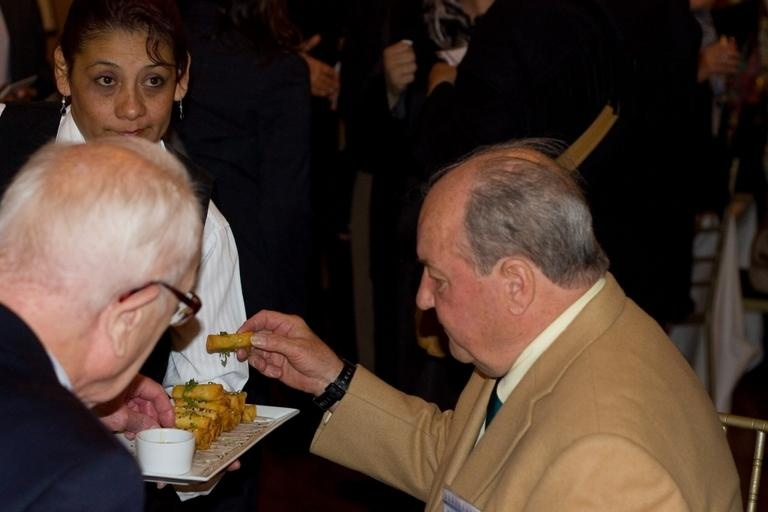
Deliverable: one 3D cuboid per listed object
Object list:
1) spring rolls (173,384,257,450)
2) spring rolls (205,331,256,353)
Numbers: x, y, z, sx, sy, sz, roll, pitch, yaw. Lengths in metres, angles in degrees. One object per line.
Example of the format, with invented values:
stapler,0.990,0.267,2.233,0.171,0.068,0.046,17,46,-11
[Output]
spring rolls,-0.678,0.588,2.813,0.243,0.223,0.280,8,13,29
spring rolls,-0.632,0.345,2.920,0.152,0.058,0.090,-2,3,-10
